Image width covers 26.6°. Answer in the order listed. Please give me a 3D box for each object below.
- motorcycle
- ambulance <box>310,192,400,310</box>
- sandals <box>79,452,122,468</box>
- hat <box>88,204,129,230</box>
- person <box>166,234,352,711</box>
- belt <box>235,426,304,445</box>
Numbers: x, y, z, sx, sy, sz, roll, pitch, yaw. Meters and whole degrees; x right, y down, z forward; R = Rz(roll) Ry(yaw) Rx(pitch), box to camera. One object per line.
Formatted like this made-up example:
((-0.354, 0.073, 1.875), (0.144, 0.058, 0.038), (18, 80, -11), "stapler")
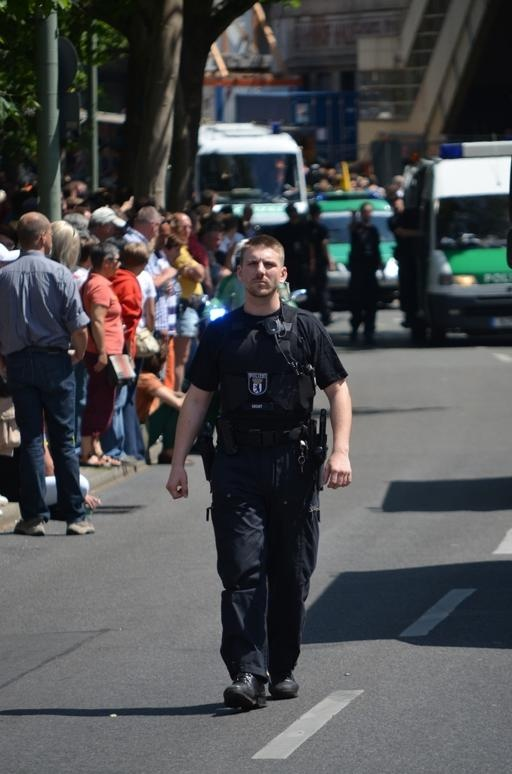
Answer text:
((-0.200, -0.150, 9.927), (1.059, 1.906, 0.840), (13, 1, -5), "motorcycle")
((2.138, -2.630, 22.920), (1.692, 2.838, 1.891), (0, 13, 7), "ambulance")
((-1.276, 0.603, 8.959), (0.356, 0.146, 0.122), (-3, 5, 10), "sandals")
((-1.432, -1.678, 10.647), (0.344, 0.205, 0.244), (1, 11, -23), "hat")
((0.044, 0.282, 3.446), (0.580, 1.510, 0.588), (-2, 10, -20), "person")
((0.040, 0.158, 3.389), (0.213, 0.067, 0.042), (2, 9, -1), "belt")
